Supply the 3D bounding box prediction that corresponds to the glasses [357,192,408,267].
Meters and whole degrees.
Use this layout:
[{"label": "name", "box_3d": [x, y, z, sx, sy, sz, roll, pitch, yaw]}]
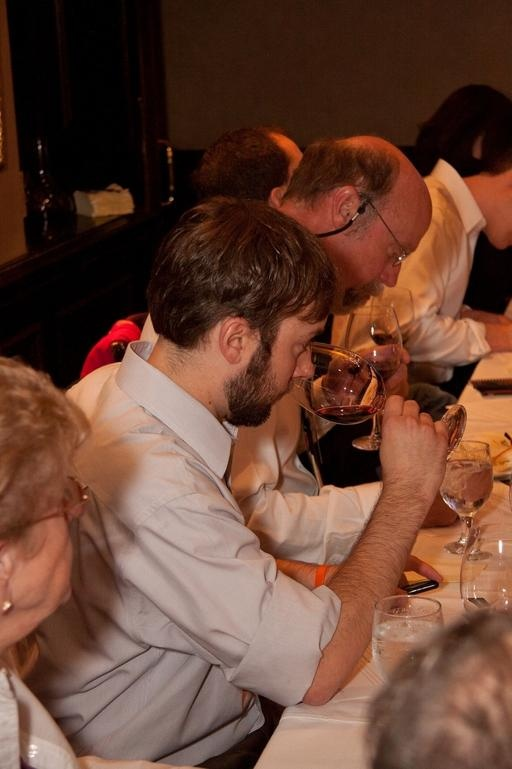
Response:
[{"label": "glasses", "box_3d": [0.375, -0.443, 1.757, 0.046, 0.151, 0.143, -31, 28, -19]}]
